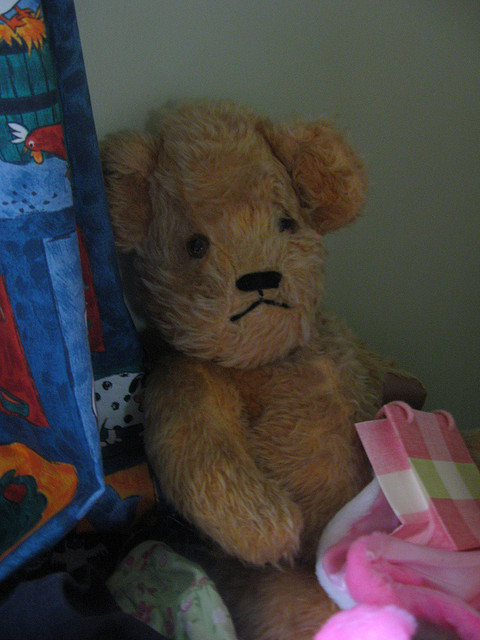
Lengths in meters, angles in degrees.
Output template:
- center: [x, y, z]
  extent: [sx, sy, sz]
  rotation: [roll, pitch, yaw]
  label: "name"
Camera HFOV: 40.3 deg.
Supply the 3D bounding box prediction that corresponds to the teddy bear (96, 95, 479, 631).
- center: [0.008, 0.009, 0.659]
  extent: [0.364, 0.413, 0.401]
  rotation: [16, 27, 15]
  label: "teddy bear"
